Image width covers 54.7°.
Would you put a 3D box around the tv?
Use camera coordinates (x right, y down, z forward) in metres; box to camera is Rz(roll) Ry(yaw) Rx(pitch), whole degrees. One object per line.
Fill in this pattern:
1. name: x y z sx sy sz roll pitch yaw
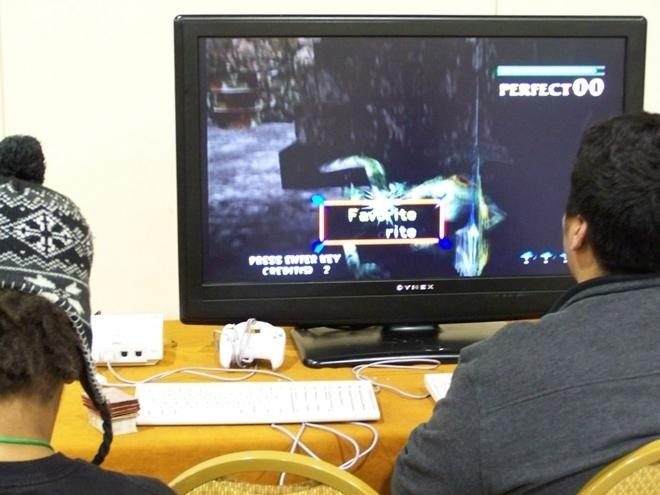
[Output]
1. tv: 0.187 -0.191 1.745 0.927 0.718 0.308 -1 7 -7
